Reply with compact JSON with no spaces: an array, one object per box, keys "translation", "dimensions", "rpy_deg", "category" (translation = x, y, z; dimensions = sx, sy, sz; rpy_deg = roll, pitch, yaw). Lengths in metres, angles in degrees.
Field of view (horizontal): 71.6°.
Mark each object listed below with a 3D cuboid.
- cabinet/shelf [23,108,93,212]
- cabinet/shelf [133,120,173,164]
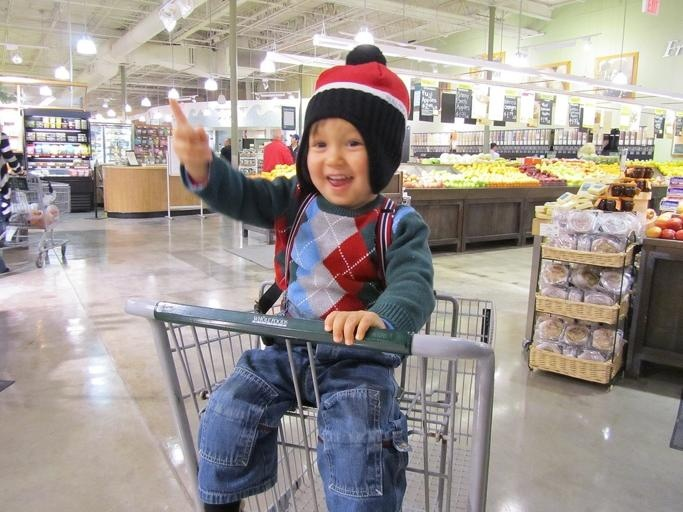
[{"translation":[-7.202,-2.597,12.124],"dimensions":[1.506,2.454,1.248],"rpy_deg":[-10,41,-36],"category":"cabinet/shelf"},{"translation":[-5.442,-3.221,13.679],"dimensions":[1.203,1.119,0.764],"rpy_deg":[-9,16,-44],"category":"cabinet/shelf"}]
